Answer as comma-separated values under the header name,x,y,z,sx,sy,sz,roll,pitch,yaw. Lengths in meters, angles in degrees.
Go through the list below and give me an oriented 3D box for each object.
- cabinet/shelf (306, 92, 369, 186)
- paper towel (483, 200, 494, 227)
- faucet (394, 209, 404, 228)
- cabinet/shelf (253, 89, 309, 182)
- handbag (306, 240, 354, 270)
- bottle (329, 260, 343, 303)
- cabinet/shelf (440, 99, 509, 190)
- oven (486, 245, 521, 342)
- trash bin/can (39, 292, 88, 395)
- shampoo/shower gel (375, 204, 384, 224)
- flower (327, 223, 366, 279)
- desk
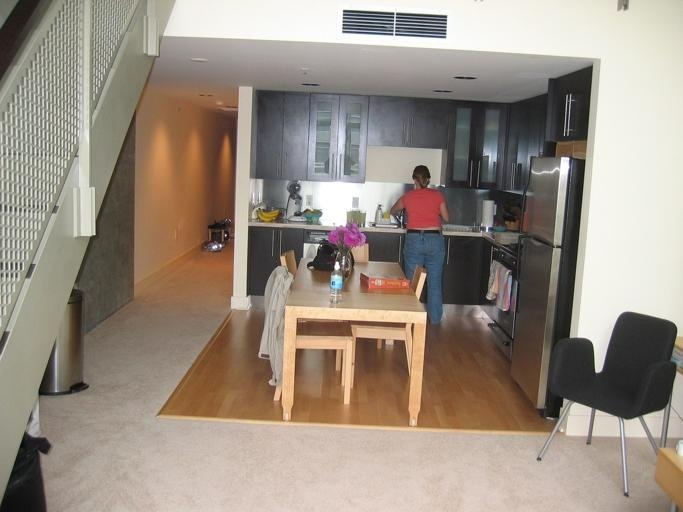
name,x,y,z,sx,sy,sz,roll,pitch,yaw
cabinet/shelf,-0.038,-1.453,6.862,0.716,1.124,0.407,0,2,5
paper towel,1.900,-0.540,6.849,0.156,0.356,0.302,5,11,15
faucet,0.733,-0.477,6.806,0.049,0.225,0.152,4,-13,-37
cabinet/shelf,-0.777,-1.583,6.683,0.864,1.515,0.550,2,12,-2
handbag,-0.083,0.015,4.834,0.225,0.381,0.330,13,7,43
bottle,-0.046,0.196,3.968,0.081,0.273,0.247,2,11,-2
cabinet/shelf,1.700,-1.473,6.743,0.915,1.457,0.532,0,17,1
oven,1.672,0.395,5.422,0.408,0.905,0.859,1,13,6
trash bin/can,-2.223,0.706,4.203,0.208,0.784,0.377,12,15,43
shampoo/shower gel,0.503,-0.557,7.057,0.109,0.250,0.191,2,11,2
flower,0.049,-0.027,4.617,0.229,0.353,0.293,2,8,2
desk,0.237,0.840,4.773,1.041,0.914,2.008,2,-1,7
